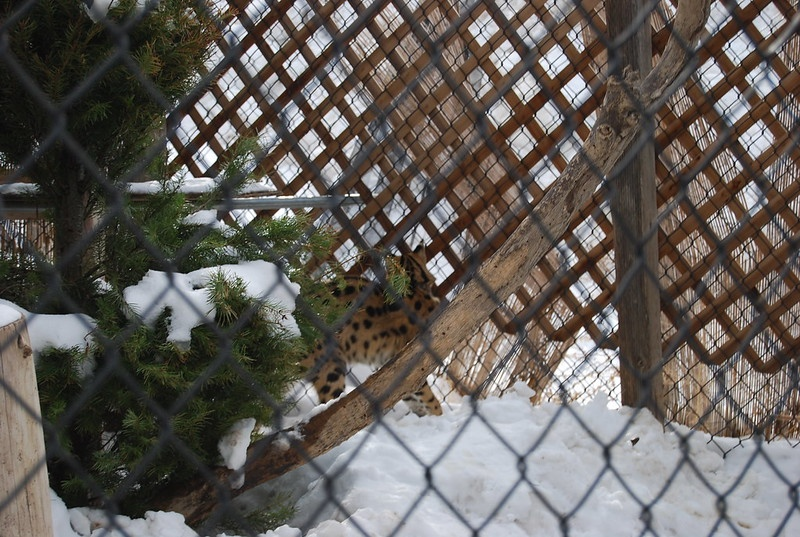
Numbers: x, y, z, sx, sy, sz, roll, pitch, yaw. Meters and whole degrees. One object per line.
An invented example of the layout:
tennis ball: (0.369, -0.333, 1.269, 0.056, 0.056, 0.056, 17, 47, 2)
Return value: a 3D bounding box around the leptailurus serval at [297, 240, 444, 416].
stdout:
leptailurus serval: (-0.142, 0.268, 6.255, 0.556, 0.881, 0.195, 51, -13, -27)
